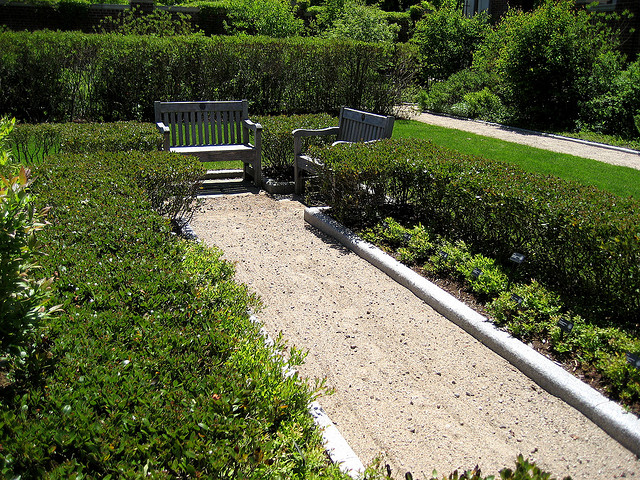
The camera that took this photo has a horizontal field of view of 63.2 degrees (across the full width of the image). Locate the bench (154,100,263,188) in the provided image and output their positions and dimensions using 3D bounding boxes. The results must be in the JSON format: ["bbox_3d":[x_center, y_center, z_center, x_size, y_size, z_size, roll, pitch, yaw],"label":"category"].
[{"bbox_3d":[-1.999,-1.740,9.395,1.662,1.585,0.796,-5,27,-17],"label":"bench"}]

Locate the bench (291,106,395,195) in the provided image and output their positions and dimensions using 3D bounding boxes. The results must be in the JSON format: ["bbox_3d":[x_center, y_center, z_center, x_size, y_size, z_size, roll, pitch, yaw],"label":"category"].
[{"bbox_3d":[0.318,-1.443,8.968,1.138,1.701,1.642,-8,26,-30],"label":"bench"}]
